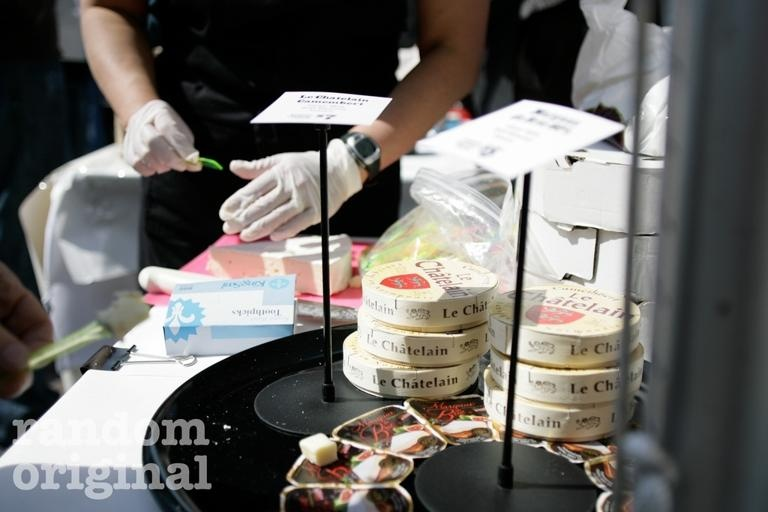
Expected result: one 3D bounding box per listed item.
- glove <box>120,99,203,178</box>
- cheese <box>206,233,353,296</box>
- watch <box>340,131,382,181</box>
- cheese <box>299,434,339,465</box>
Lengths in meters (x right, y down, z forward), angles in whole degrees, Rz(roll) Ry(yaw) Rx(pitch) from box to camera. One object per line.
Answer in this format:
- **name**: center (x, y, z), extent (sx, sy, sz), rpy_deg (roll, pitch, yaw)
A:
- **glove**: center (-0.490, -0.275, 1.746), extent (0.132, 0.175, 0.162), rpy_deg (2, 13, 18)
- **cheese**: center (-0.178, -0.026, 1.658), extent (0.350, 0.116, 0.192), rpy_deg (15, 27, 39)
- **watch**: center (-0.045, -0.261, 1.795), extent (0.067, 0.109, 0.109), rpy_deg (-38, 76, -26)
- **cheese**: center (-0.091, 0.268, 1.077), extent (0.040, 0.026, 0.040), rpy_deg (0, 18, -42)
